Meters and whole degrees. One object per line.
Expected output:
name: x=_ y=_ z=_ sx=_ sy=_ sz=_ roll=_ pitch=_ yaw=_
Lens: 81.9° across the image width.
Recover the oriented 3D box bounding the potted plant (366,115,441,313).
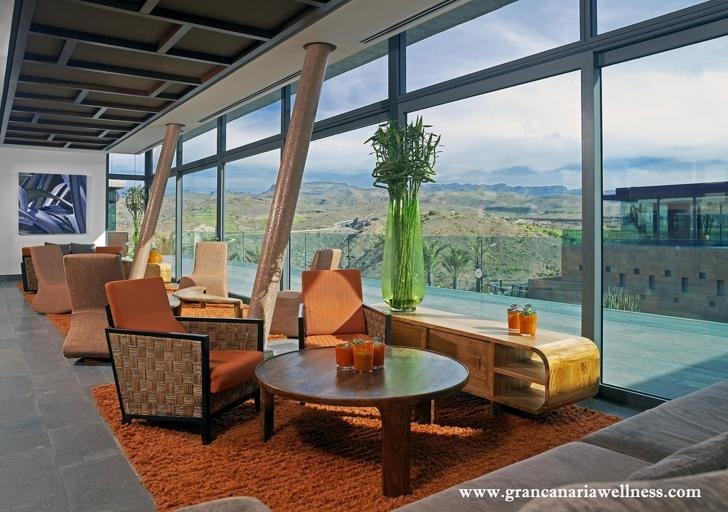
potted plant: x=0.426 y=-0.431 z=4.288 sx=0.672 sy=1.971 sz=0.390 roll=0 pitch=6 yaw=2

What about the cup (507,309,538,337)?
cup: x=1.265 y=0.532 z=3.319 sx=0.223 sy=0.180 sz=0.321 roll=4 pitch=-4 yaw=-13

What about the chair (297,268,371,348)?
chair: x=-0.291 y=0.482 z=4.057 sx=0.746 sy=0.726 sz=0.747 roll=0 pitch=-3 yaw=-12

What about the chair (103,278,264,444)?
chair: x=-1.370 y=0.734 z=3.284 sx=1.139 sy=0.863 sz=0.833 roll=6 pitch=4 yaw=3

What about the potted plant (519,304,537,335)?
potted plant: x=1.305 y=0.507 z=3.310 sx=0.120 sy=0.237 sz=0.125 roll=1 pitch=6 yaw=7

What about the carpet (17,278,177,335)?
carpet: x=-4.388 y=0.793 z=6.618 sx=1.303 sy=1.143 sz=0.974 roll=-3 pitch=-26 yaw=14

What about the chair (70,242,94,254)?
chair: x=-6.865 y=-0.211 z=10.198 sx=0.465 sy=0.197 sz=0.706 roll=-3 pitch=4 yaw=-32

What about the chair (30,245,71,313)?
chair: x=-5.474 y=0.406 z=7.397 sx=0.927 sy=0.964 sz=0.824 roll=2 pitch=24 yaw=-21

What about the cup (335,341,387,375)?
cup: x=-0.015 y=0.670 z=2.787 sx=0.320 sy=0.115 sz=0.214 roll=0 pitch=-3 yaw=28
